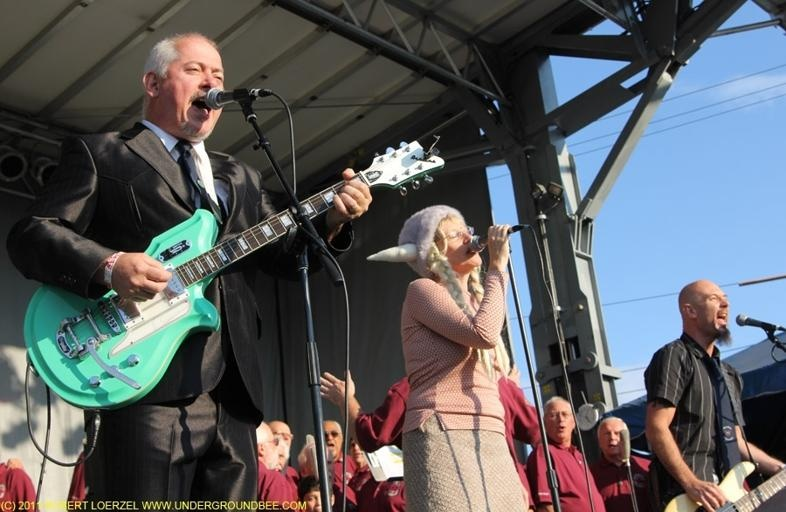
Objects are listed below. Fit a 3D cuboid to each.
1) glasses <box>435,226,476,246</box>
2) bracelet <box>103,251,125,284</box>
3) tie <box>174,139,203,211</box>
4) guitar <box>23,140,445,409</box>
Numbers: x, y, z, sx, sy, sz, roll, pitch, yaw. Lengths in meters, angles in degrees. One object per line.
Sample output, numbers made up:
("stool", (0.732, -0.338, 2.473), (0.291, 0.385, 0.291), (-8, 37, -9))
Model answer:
("glasses", (0.431, -0.139, 5.282), (0.147, 0.055, 0.146), (-22, -18, 34))
("bracelet", (-1.593, 0.062, 4.494), (0.046, 0.155, 0.131), (7, -32, 17))
("tie", (-1.233, -0.510, 4.858), (0.100, 0.514, 0.120), (-14, -23, -3))
("guitar", (-1.122, 0.094, 6.269), (3.564, 1.460, 0.559), (-33, -8, -19))
